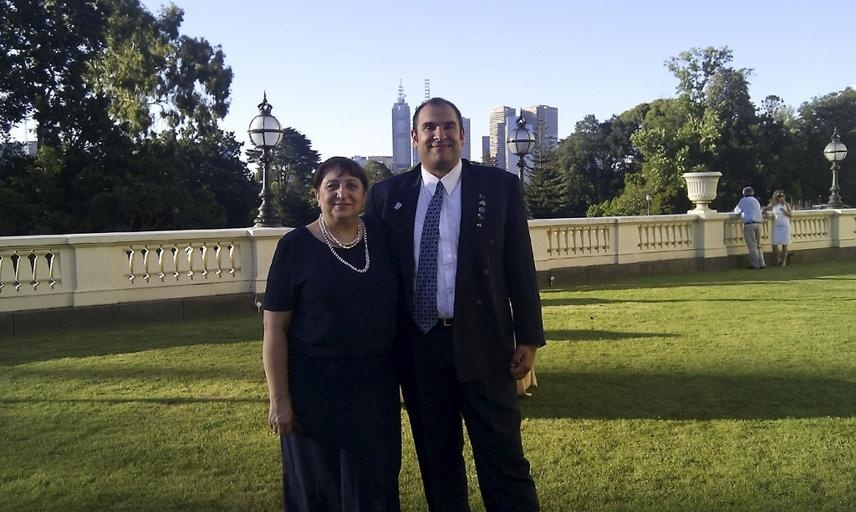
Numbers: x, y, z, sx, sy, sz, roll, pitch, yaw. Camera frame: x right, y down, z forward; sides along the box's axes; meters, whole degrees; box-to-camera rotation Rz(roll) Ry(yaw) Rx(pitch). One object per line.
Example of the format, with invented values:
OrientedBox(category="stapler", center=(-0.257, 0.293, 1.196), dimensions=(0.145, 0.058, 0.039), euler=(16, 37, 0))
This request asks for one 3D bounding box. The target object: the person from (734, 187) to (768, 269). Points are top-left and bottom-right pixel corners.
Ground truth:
OrientedBox(category="person", center=(9.411, -0.816, 21.055), dimensions=(0.684, 2.036, 1.014), euler=(-2, 1, 24))

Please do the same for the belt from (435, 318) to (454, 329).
OrientedBox(category="belt", center=(0.161, 0.692, 7.329), dimensions=(0.105, 0.104, 0.028), euler=(0, 4, 6))

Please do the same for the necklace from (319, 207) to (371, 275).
OrientedBox(category="necklace", center=(-0.863, -0.119, 7.328), dimensions=(0.389, 0.670, 0.126), euler=(-16, -6, -26))
